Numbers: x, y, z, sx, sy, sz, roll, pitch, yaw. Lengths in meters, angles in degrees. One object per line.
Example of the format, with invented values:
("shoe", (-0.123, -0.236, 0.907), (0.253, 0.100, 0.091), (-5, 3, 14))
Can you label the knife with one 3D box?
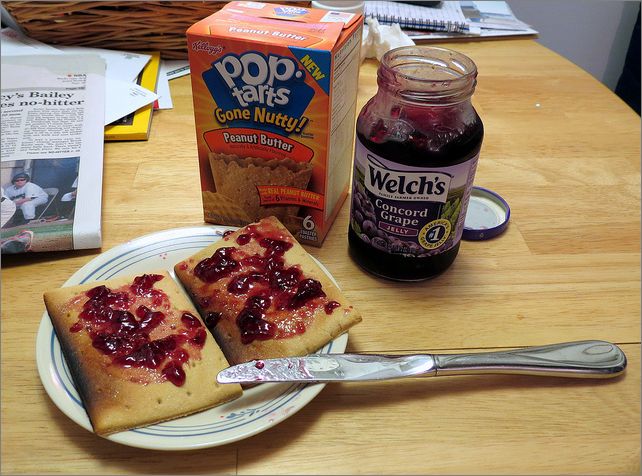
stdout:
("knife", (0.141, 0.178, 0.773), (0.661, 0.019, 0.074), (0, 27, -4))

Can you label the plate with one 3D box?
("plate", (-0.188, 0.129, 0.809), (0.448, 0.061, 0.409), (20, 45, 20))
